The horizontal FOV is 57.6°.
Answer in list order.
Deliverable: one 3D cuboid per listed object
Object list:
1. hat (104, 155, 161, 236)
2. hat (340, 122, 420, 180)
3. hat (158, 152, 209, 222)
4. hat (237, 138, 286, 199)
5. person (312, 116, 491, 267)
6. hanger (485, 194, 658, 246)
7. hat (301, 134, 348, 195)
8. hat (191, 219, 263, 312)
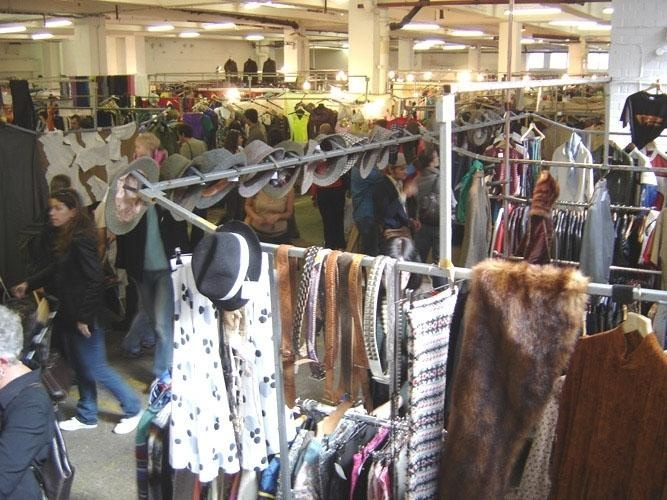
[{"bbox_3d":[-0.830,-0.222,2.541,0.244,0.321,0.161,5,11,19],"label":"hat"},{"bbox_3d":[0.372,-0.689,4.454,0.531,0.467,1.380,2,11,3],"label":"hat"},{"bbox_3d":[-0.680,-0.265,2.717,0.098,0.272,0.230,16,40,23],"label":"hat"},{"bbox_3d":[-0.372,-0.424,3.089,0.272,0.145,0.360,-7,-17,16],"label":"hat"},{"bbox_3d":[0.542,-0.415,4.667,1.439,1.519,0.395,1,2,-4],"label":"person"},{"bbox_3d":[1.746,-0.315,4.470,0.391,0.286,0.966,-13,20,-43],"label":"hanger"},{"bbox_3d":[-0.063,-0.518,3.600,0.242,0.331,0.548,2,11,6],"label":"hat"},{"bbox_3d":[-0.408,0.057,2.314,0.214,0.318,0.275,6,11,24],"label":"hat"}]
